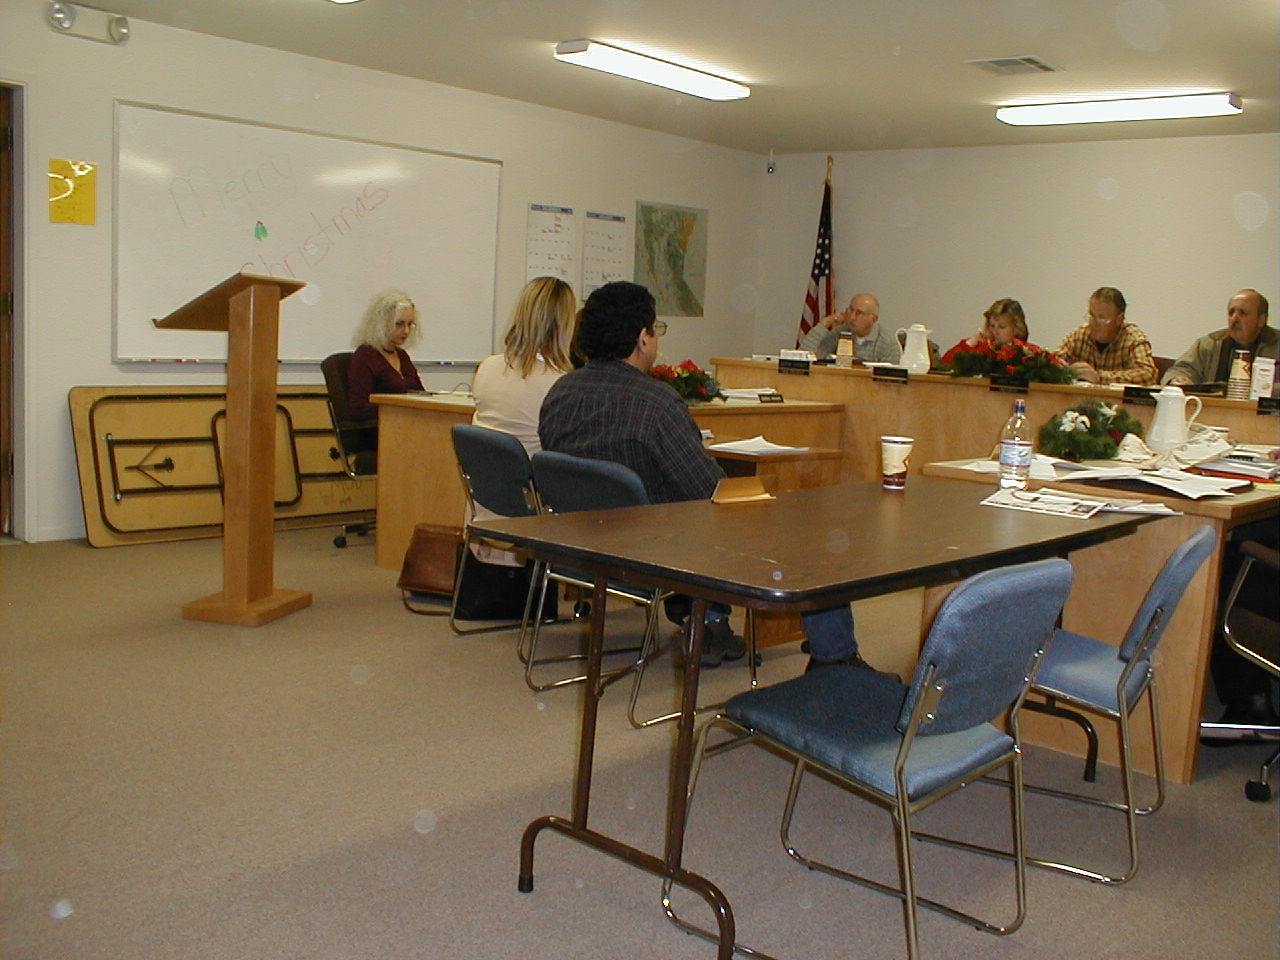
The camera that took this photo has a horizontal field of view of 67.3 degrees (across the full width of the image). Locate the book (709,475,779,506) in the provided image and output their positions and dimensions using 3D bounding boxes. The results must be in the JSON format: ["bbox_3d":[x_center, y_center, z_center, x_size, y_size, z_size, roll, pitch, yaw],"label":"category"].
[{"bbox_3d":[0.314,0.028,2.858,0.222,0.060,0.089,-6,13,-31],"label":"book"}]

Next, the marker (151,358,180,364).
[{"bbox_3d":[-2.880,-0.723,5.776,0.175,0.029,0.009,-8,14,-38],"label":"marker"}]

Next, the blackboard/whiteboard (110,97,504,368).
[{"bbox_3d":[-2.142,-1.513,6.319,2.506,1.577,0.288,-7,13,-35],"label":"blackboard/whiteboard"}]

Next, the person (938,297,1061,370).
[{"bbox_3d":[2.193,-1.041,5.890,0.631,0.501,0.949,3,2,19],"label":"person"}]

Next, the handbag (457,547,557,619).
[{"bbox_3d":[-0.632,0.474,4.414,0.318,0.274,0.342,4,1,7],"label":"handbag"}]

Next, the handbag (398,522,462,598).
[{"bbox_3d":[-1.000,0.384,4.605,0.285,0.310,0.128,5,9,-5],"label":"handbag"}]
